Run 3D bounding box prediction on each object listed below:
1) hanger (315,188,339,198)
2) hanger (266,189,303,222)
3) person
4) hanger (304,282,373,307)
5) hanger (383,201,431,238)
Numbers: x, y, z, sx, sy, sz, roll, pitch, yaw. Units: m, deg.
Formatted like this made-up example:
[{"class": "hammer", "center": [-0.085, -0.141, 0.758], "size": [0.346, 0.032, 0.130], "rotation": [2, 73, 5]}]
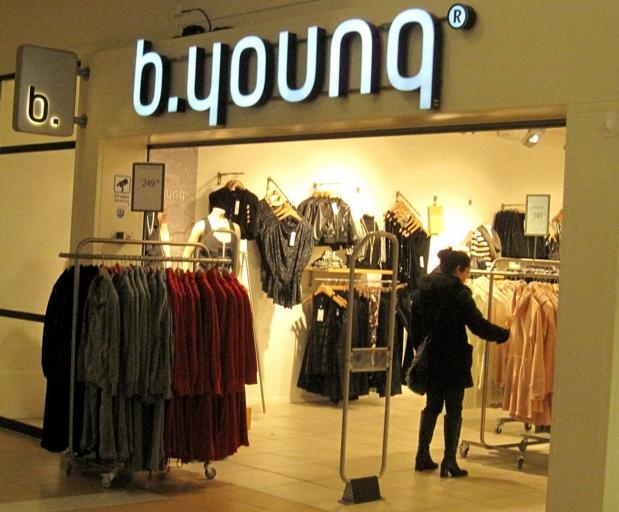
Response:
[{"class": "hanger", "center": [0.218, -0.829, 8.301], "size": [0.304, 0.137, 0.302], "rotation": [2, -2, 0]}, {"class": "hanger", "center": [-0.315, -0.716, 7.768], "size": [0.313, 0.139, 0.432], "rotation": [15, 30, -49]}, {"class": "person", "center": [1.191, 0.873, 5.244], "size": [0.741, 1.886, 0.523], "rotation": [1, -3, 19]}, {"class": "hanger", "center": [0.252, 0.476, 8.091], "size": [0.448, 0.286, 0.782], "rotation": [4, -3, -35]}, {"class": "hanger", "center": [1.313, -0.538, 8.747], "size": [0.487, 0.542, 0.372], "rotation": [5, -4, -43]}]
